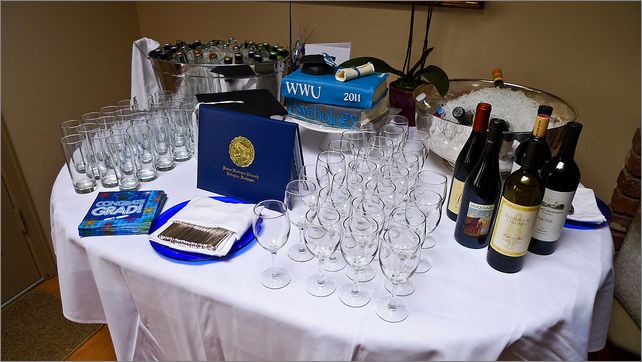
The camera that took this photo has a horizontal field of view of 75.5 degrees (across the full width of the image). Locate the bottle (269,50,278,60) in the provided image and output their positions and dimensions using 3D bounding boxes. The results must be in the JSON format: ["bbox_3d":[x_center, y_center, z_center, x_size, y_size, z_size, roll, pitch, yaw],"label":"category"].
[{"bbox_3d":[-0.283,-0.742,2.463,0.064,0.064,0.060,6,34,2],"label":"bottle"}]

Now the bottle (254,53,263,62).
[{"bbox_3d":[-0.361,-0.704,2.380,0.049,0.043,0.046,6,35,2],"label":"bottle"}]

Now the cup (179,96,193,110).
[{"bbox_3d":[-0.774,-0.455,2.405,0.083,0.062,0.112,-4,26,-14],"label":"cup"}]

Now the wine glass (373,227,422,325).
[{"bbox_3d":[0.323,0.393,1.768,0.165,0.341,0.246,9,26,12],"label":"wine glass"}]

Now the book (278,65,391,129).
[{"bbox_3d":[0.085,-0.507,2.377,0.497,0.212,0.369,13,42,23],"label":"book"}]

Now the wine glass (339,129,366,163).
[{"bbox_3d":[0.183,-0.203,2.218,0.167,0.153,0.162,13,30,22],"label":"wine glass"}]

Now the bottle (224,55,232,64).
[{"bbox_3d":[-0.528,-0.683,2.333,0.043,0.025,0.040,1,40,-1],"label":"bottle"}]

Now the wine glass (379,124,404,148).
[{"bbox_3d":[0.400,-0.249,2.312,0.129,0.132,0.120,-4,30,-6],"label":"wine glass"}]

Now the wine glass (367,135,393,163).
[{"bbox_3d":[0.305,-0.152,2.245,0.140,0.136,0.141,21,34,34],"label":"wine glass"}]

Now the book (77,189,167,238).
[{"bbox_3d":[-0.948,0.150,1.997,0.255,0.050,0.256,-3,42,-1],"label":"book"}]

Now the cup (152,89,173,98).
[{"bbox_3d":[-0.959,-0.529,2.521,0.096,0.067,0.093,3,23,-1],"label":"cup"}]

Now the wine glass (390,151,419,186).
[{"bbox_3d":[0.429,-0.058,2.090,0.126,0.130,0.119,-14,34,-24],"label":"wine glass"}]

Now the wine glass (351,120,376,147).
[{"bbox_3d":[0.255,-0.280,2.344,0.135,0.124,0.125,11,28,18],"label":"wine glass"}]

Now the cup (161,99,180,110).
[{"bbox_3d":[-0.880,-0.451,2.449,0.078,0.075,0.076,3,29,-2],"label":"cup"}]

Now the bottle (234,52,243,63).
[{"bbox_3d":[-0.471,-0.701,2.361,0.050,0.052,0.071,-2,25,-11],"label":"bottle"}]

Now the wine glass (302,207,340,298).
[{"bbox_3d":[0.003,0.324,1.828,0.189,0.405,0.195,3,34,2],"label":"wine glass"}]

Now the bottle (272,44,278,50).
[{"bbox_3d":[-0.278,-0.815,2.528,0.044,0.039,0.040,5,34,2],"label":"bottle"}]

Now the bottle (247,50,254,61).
[{"bbox_3d":[-0.406,-0.731,2.420,0.038,0.045,0.068,-2,25,-9],"label":"bottle"}]

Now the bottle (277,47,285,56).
[{"bbox_3d":[-0.240,-0.772,2.494,0.056,0.045,0.052,4,33,-3],"label":"bottle"}]

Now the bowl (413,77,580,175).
[{"bbox_3d":[0.810,-0.353,2.200,0.657,0.274,0.616,-1,36,0],"label":"bowl"}]

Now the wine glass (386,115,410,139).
[{"bbox_3d":[0.439,-0.315,2.292,0.140,0.123,0.135,-13,27,-29],"label":"wine glass"}]

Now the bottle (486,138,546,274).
[{"bbox_3d":[0.863,0.117,1.788,0.168,0.594,0.166,2,26,-1],"label":"bottle"}]

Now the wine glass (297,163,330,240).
[{"bbox_3d":[-0.033,0.107,1.926,0.170,0.401,0.162,-16,37,-19],"label":"wine glass"}]

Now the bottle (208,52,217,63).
[{"bbox_3d":[-0.627,-0.715,2.412,0.050,0.065,0.068,4,29,3],"label":"bottle"}]

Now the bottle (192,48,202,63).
[{"bbox_3d":[-0.716,-0.722,2.400,0.066,0.085,0.033,0,2,1],"label":"bottle"}]

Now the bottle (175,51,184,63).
[{"bbox_3d":[-0.808,-0.711,2.374,0.045,0.047,0.072,-9,27,-23],"label":"bottle"}]

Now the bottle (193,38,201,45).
[{"bbox_3d":[-0.769,-0.866,2.572,0.055,0.035,0.052,4,34,-3],"label":"bottle"}]

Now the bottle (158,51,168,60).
[{"bbox_3d":[-0.900,-0.715,2.368,0.040,0.034,0.037,6,48,-4],"label":"bottle"}]

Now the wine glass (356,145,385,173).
[{"bbox_3d":[0.268,-0.123,2.140,0.139,0.126,0.136,14,29,25],"label":"wine glass"}]

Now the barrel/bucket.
[{"bbox_3d":[-0.586,-0.671,2.489,0.576,0.369,0.555,3,26,-1],"label":"barrel/bucket"}]

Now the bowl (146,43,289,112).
[{"bbox_3d":[-0.602,-0.686,2.466,0.565,0.331,0.529,2,26,-1],"label":"bowl"}]

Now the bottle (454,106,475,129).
[{"bbox_3d":[0.734,-0.321,2.114,0.168,0.051,0.036,19,42,-48],"label":"bottle"}]
